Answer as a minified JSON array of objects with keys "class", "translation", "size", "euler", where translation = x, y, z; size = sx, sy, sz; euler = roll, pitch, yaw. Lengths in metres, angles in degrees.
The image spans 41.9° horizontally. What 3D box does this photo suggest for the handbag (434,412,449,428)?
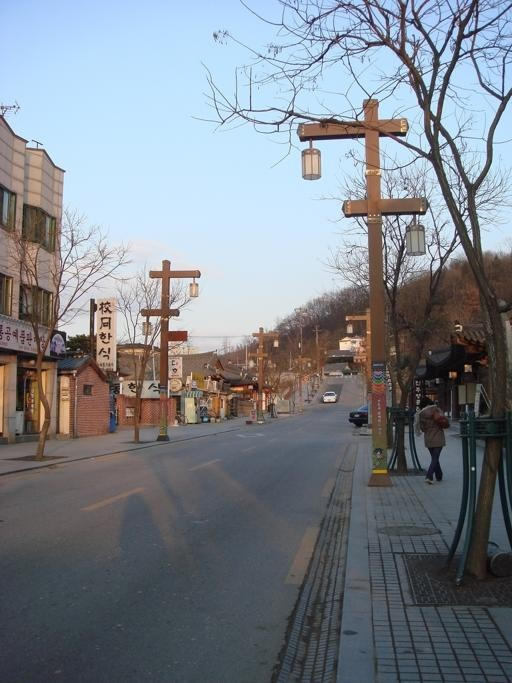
[{"class":"handbag","translation":[3.403,1.440,12.216],"size":[0.220,0.281,1.099],"euler":[-2,-4,17]}]
